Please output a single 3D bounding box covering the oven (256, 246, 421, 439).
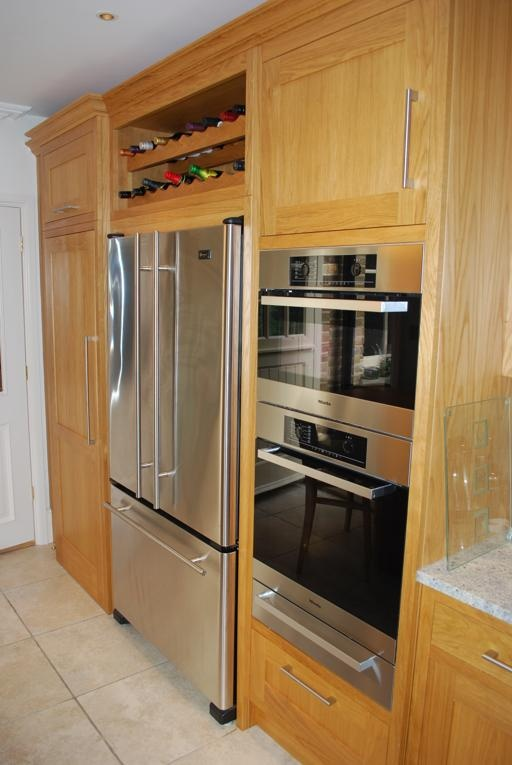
[{"bbox_3d":[0.233,-0.085,1.495,0.204,0.518,0.543,-3,9,-41],"label":"oven"}]
